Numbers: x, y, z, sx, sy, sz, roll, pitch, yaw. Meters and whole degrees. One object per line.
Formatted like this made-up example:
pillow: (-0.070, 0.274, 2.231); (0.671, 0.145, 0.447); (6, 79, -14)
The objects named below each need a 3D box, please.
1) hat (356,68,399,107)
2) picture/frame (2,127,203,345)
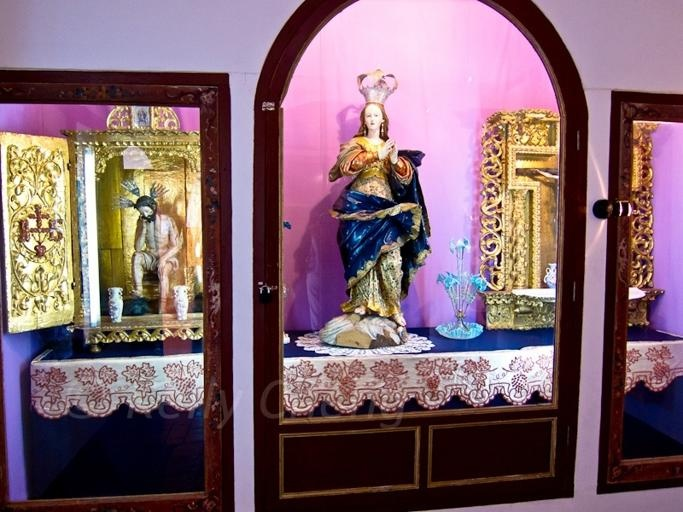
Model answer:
hat: (0.153, -0.728, 3.203); (0.146, 0.119, 0.143); (2, 0, -41)
picture/frame: (-1.036, -0.121, 3.060); (0.799, 0.878, 0.357); (0, 1, -8)
